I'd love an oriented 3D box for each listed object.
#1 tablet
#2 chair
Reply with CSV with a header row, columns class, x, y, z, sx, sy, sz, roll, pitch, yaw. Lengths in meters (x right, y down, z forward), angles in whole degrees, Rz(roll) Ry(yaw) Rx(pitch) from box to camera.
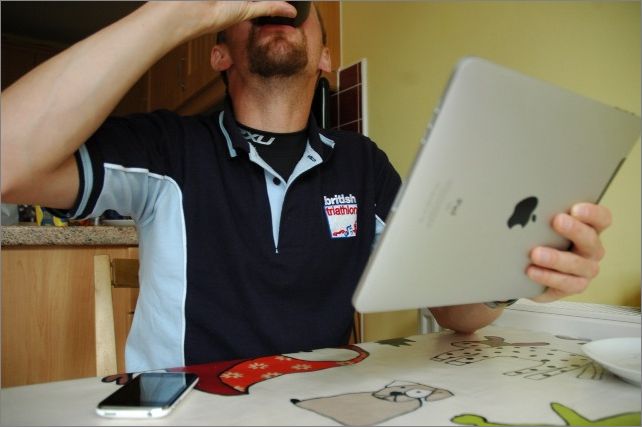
class,x,y,z,sx,sy,sz,roll,pitch,yaw
tablet,0.295,-0.043,0.846,0.501,0.414,0.049,-4,12,-21
chair,-0.479,0.235,1.285,0.160,0.348,0.166,1,6,-14
